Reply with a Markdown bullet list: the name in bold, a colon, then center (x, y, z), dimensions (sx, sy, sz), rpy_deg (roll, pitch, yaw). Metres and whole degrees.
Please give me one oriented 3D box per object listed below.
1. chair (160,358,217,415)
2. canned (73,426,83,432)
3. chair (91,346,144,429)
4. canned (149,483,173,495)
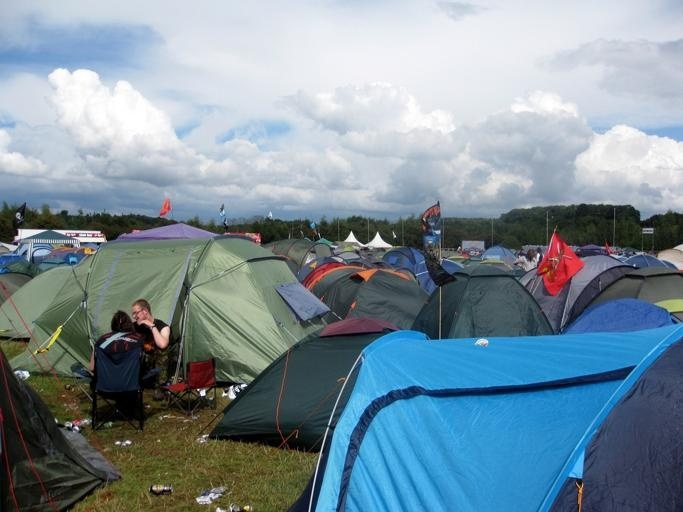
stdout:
- **chair**: center (-2.235, 1.920, 10.106), dimensions (0.593, 0.859, 0.663), rpy_deg (-2, 1, -37)
- **canned**: center (-3.729, 2.415, 9.475), dimensions (0.077, 0.048, 0.132), rpy_deg (9, 3, -1)
- **chair**: center (-3.020, 1.748, 9.086), dimensions (0.589, 1.227, 0.680), rpy_deg (3, -8, -25)
- **canned**: center (-2.180, 2.804, 8.126), dimensions (0.163, 0.060, 0.137), rpy_deg (2, 5, -3)
